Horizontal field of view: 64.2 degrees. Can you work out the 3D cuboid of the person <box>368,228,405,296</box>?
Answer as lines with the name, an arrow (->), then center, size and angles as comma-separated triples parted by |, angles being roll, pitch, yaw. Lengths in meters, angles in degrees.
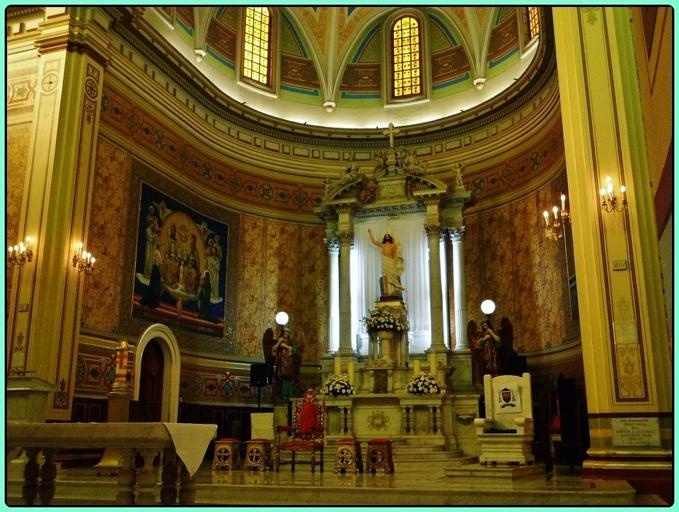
person -> 1.194, 0.189, 13.700 | 0.823, 1.953, 0.758 | -1, -17, -1

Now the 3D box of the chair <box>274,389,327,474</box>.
chair -> -0.628, 3.037, 9.403 | 0.713, 1.406, 0.732 | -7, -21, 23

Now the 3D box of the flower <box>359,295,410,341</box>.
flower -> 1.025, 1.386, 12.400 | 0.883, 0.664, 0.925 | -6, -19, 18

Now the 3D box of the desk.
desk -> -2.629, 2.378, 6.147 | 1.625, 0.620, 1.233 | 0, -16, 5

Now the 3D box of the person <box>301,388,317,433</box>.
person -> -0.562, 2.796, 9.693 | 0.369, 0.992, 0.117 | 3, 15, -8

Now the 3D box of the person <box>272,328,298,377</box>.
person -> -1.348, 2.383, 13.342 | 0.603, 1.266, 0.434 | 1, -17, -4

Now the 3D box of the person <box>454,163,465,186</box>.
person -> 3.305, -2.160, 14.797 | 0.193, 0.841, 0.915 | -4, -18, 12

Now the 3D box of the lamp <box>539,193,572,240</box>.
lamp -> 4.424, -0.841, 10.854 | 0.235, 0.634, 0.956 | 9, 24, 36

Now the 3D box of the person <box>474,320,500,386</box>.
person -> 3.401, 2.091, 12.286 | 0.531, 1.714, 0.526 | -6, 29, 17

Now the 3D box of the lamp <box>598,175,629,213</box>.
lamp -> 3.958, -0.781, 7.815 | 0.348, 0.708, 0.204 | -6, -4, 17

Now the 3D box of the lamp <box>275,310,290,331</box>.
lamp -> -1.538, 1.729, 14.292 | 0.416, 0.519, 0.434 | -1, -2, 8

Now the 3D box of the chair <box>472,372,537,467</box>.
chair -> 2.559, 2.515, 8.386 | 0.858, 1.351, 0.798 | -7, -18, 18

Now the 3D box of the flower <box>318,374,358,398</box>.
flower -> -0.024, 2.643, 10.958 | 0.649, 0.459, 0.344 | -1, -17, -1

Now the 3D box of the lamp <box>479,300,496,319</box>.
lamp -> 3.820, 1.359, 13.821 | 0.402, 0.551, 0.377 | -4, -28, 5
